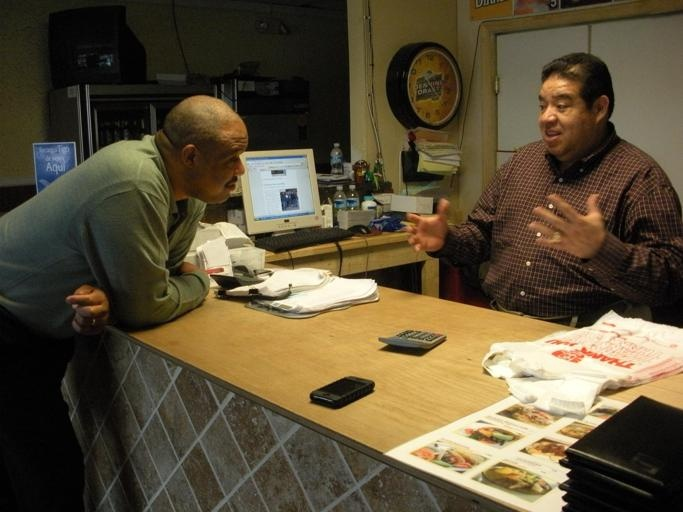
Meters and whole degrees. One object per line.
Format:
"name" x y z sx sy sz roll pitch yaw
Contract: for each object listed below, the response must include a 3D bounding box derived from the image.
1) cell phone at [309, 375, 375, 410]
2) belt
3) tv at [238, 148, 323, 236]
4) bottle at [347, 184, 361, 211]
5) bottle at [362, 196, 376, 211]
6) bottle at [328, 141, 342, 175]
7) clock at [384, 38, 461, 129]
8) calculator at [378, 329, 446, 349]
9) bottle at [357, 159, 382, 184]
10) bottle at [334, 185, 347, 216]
"cell phone" 0.007 0.330 1.232 0.160 0.024 0.090 -13 16 -37
"belt" 1.039 0.236 2.042 0.234 0.073 0.239 -3 5 -30
"tv" -0.445 -0.453 3.453 0.588 0.543 0.174 -11 7 -37
"bottle" 0.082 -0.442 3.788 0.091 0.178 0.203 -1 12 9
"bottle" 0.204 -0.391 3.735 0.098 0.104 0.098 0 -1 7
"bottle" -0.039 -0.771 4.020 0.094 0.236 0.269 -4 12 -1
"clock" 0.718 -1.461 4.389 0.733 0.706 0.234 -12 17 -31
"calculator" 0.211 0.247 1.512 0.189 0.042 0.133 0 13 14
"bottle" 0.210 -0.675 4.048 0.222 0.208 0.189 0 9 -4
"bottle" -0.009 -0.423 3.763 0.098 0.200 0.152 -3 12 3
